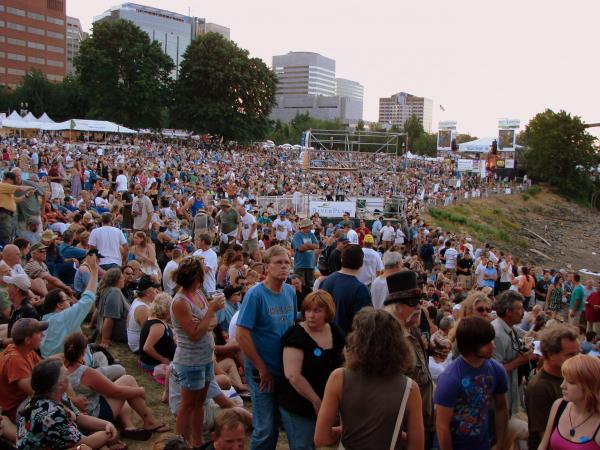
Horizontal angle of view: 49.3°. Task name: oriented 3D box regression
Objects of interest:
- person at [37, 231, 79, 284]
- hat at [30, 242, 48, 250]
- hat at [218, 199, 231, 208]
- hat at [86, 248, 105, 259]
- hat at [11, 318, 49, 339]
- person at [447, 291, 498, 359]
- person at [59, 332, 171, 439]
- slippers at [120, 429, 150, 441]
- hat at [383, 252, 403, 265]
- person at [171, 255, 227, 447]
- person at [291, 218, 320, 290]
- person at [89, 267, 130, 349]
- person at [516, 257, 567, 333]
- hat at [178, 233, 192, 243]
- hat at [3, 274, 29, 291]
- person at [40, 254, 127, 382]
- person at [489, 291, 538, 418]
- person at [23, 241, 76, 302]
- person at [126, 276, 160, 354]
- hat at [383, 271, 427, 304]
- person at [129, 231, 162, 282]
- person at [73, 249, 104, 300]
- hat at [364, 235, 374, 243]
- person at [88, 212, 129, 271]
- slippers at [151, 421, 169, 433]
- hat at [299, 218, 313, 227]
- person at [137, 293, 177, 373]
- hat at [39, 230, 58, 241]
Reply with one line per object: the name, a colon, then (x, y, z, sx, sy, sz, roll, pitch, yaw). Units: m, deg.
person: (-4.630, 0.632, 12.857, 0.524, 1.101, 0.406, 17, 6, -28)
hat: (-4.840, 0.408, 12.028, 0.204, 0.095, 0.159, -3, 3, -15)
hat: (-1.726, -0.495, 15.240, 0.257, 0.215, 0.303, 4, 11, -15)
hat: (-3.650, 0.508, 11.656, 0.294, 0.155, 0.100, 16, 27, 22)
hat: (-3.572, 1.332, 8.599, 0.344, 0.236, 0.243, -13, 17, -33)
person: (2.384, 1.327, 9.065, 0.534, 0.988, 0.564, 2, 9, 9)
person: (-2.641, 2.281, 9.280, 1.143, 1.811, 0.722, -14, 7, -22)
slippers: (-2.280, 2.912, 9.081, 0.404, 0.147, 0.181, 7, 48, -7)
hat: (1.407, 0.505, 9.835, 0.227, 0.275, 0.200, 6, 0, -18)
person: (-1.398, 1.722, 8.596, 0.640, 2.542, 0.651, 3, 9, -14)
person: (0.097, 0.707, 13.710, 0.442, 1.702, 0.518, 9, 17, 38)
person: (-3.176, 1.429, 11.363, 0.642, 1.324, 0.780, 7, -8, -37)
person: (6.252, 1.767, 16.901, 1.024, 2.941, 0.756, -9, 5, -42)
hat: (-2.491, 0.311, 14.089, 0.205, 0.192, 0.475, 4, 11, -16)
hat: (-4.298, 0.878, 9.959, 0.327, 0.231, 0.230, 16, 2, -6)
person: (-3.421, 1.431, 10.130, 0.967, 1.879, 1.196, 6, -13, -35)
person: (2.845, 1.908, 8.906, 0.574, 2.160, 0.746, 9, 28, 31)
person: (-4.684, 0.893, 12.159, 0.766, 1.305, 0.489, -6, 25, -15)
person: (-2.518, 1.530, 10.790, 0.618, 1.332, 0.693, 1, 3, -22)
hat: (1.307, 0.798, 8.284, 0.579, 0.367, 0.606, -9, -12, 1)
person: (-3.183, 0.874, 13.432, 0.432, 1.439, 0.452, -9, -1, 11)
person: (-3.734, 0.900, 11.550, 0.542, 0.978, 0.599, -1, 17, -22)
hat: (1.362, 0.288, 12.980, 0.124, 0.109, 0.203, 4, -3, 4)
person: (-3.877, 0.516, 13.371, 0.635, 2.137, 0.650, 6, 41, -8)
slippers: (-1.987, 2.848, 9.227, 0.210, 0.065, 0.119, 5, 21, -8)
hat: (0.130, -0.053, 14.344, 0.254, 0.163, 0.291, -1, 0, -2)
person: (-2.101, 1.685, 10.294, 0.779, 1.235, 0.700, 2, 16, -31)
hat: (-4.892, 0.210, 12.699, 0.250, 0.237, 0.290, 2, 11, -25)
